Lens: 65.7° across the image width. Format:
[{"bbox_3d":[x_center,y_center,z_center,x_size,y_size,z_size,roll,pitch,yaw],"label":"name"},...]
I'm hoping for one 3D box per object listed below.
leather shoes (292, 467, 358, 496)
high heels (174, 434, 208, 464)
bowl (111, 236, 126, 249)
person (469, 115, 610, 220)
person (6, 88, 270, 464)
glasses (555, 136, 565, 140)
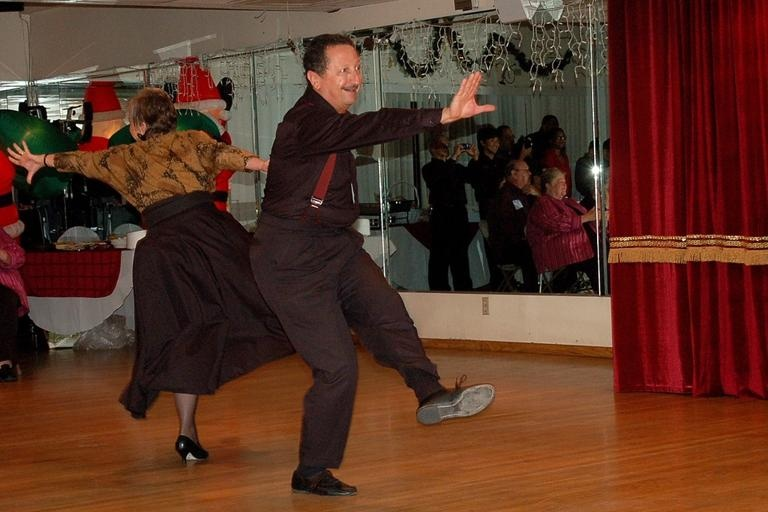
[{"bbox_3d":[-0.282,0.985,2.582,0.245,0.107,0.123,1,-7,6],"label":"leather shoes"},{"bbox_3d":[-1.026,1.000,3.089,0.098,0.094,0.193,-12,-25,11],"label":"high heels"},{"bbox_3d":[-2.754,-0.133,6.044,0.141,0.096,0.142,-1,7,0],"label":"bowl"},{"bbox_3d":[1.372,-0.871,5.492,0.950,0.932,0.566,-2,5,14],"label":"person"},{"bbox_3d":[-1.104,0.079,3.114,1.085,1.942,0.283,-2,2,0],"label":"person"},{"bbox_3d":[1.538,-1.021,5.145,0.064,0.047,0.014,-1,3,18],"label":"glasses"}]
